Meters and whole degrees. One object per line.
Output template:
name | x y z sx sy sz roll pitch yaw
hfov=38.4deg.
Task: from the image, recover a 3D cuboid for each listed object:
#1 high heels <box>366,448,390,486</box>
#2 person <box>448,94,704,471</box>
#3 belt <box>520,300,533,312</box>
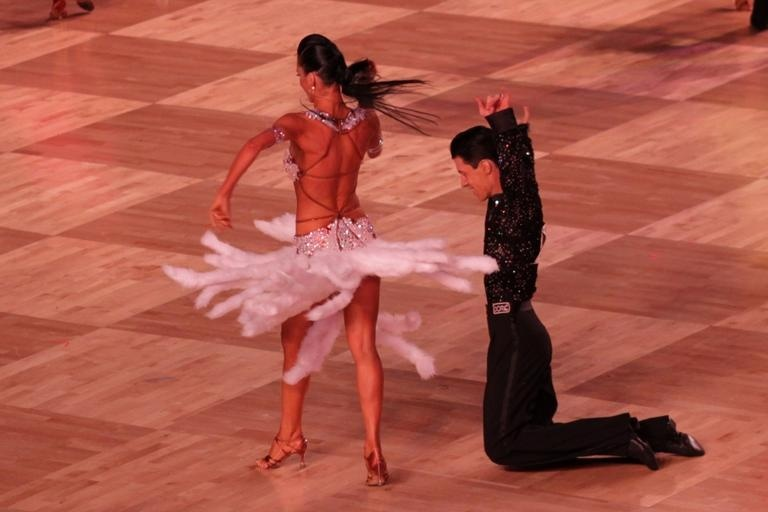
high heels | -0.056 1.481 7.691 0.166 0.111 0.349 -7 12 -11
person | 0.872 0.278 7.693 1.031 2.484 1.462 -17 32 9
belt | 0.997 0.355 7.778 0.099 0.082 0.086 -1 35 -2
